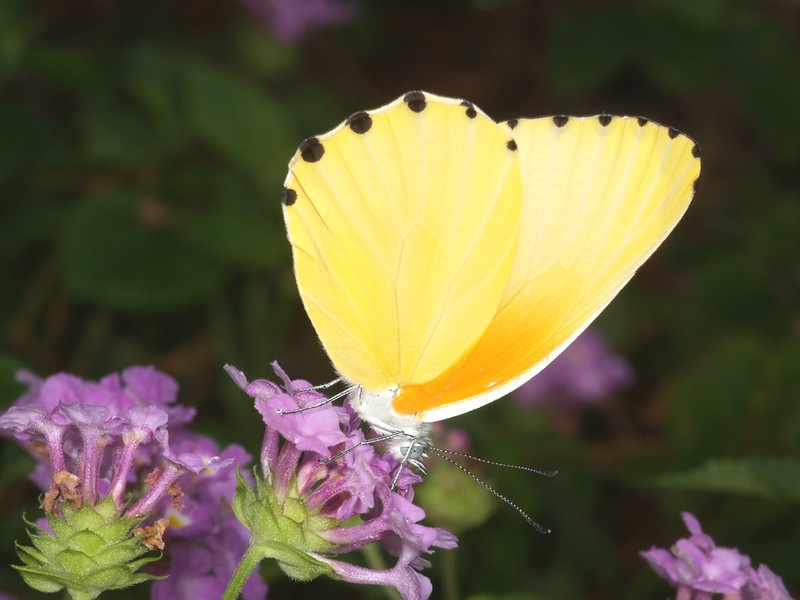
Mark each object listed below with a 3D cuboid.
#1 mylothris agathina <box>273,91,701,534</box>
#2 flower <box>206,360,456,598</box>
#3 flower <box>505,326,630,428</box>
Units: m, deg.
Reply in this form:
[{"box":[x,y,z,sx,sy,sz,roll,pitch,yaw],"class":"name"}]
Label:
[{"box":[0.328,-0.092,4.333,1.513,1.122,1.933,-2,94,2],"class":"mylothris agathina"},{"box":[-0.196,0.690,3.526,0.818,0.758,0.664,16,76,6],"class":"flower"},{"box":[0.925,0.347,5.268,0.389,0.288,0.538,0,93,12],"class":"flower"}]
